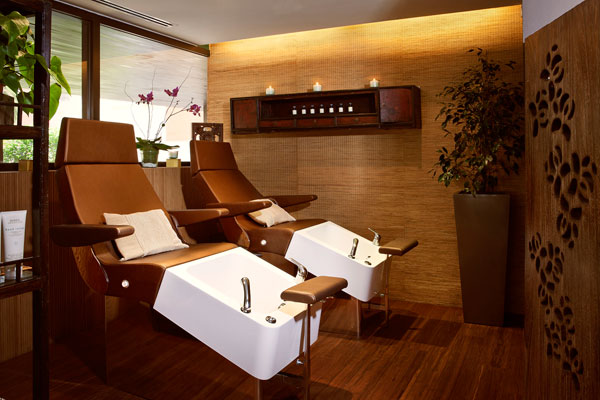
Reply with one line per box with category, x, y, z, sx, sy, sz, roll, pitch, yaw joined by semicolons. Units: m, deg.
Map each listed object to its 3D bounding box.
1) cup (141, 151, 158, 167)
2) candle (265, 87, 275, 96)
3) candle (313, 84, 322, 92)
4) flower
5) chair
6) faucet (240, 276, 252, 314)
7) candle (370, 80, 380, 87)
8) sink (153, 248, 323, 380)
cup;-1.339;-0.382;3.776;0.148;0.151;0.143;2;9;0
candle;-0.306;-1.145;4.332;0.102;0.105;0.099;0;2;-2
candle;0.176;-1.132;4.176;0.090;0.083;0.088;1;10;4
flower;-1.499;-0.864;4.221;0.649;0.845;0.859;4;0;28
chair;-0.577;0.365;2.851;2.258;1.339;1.704;-1;-1;28
faucet;-0.292;0.504;2.245;0.056;0.186;0.140;-1;10;-7
candle;0.711;-1.118;3.949;0.098;0.071;0.098;7;13;43
sink;-0.417;0.631;2.459;0.897;0.368;0.659;25;20;26
